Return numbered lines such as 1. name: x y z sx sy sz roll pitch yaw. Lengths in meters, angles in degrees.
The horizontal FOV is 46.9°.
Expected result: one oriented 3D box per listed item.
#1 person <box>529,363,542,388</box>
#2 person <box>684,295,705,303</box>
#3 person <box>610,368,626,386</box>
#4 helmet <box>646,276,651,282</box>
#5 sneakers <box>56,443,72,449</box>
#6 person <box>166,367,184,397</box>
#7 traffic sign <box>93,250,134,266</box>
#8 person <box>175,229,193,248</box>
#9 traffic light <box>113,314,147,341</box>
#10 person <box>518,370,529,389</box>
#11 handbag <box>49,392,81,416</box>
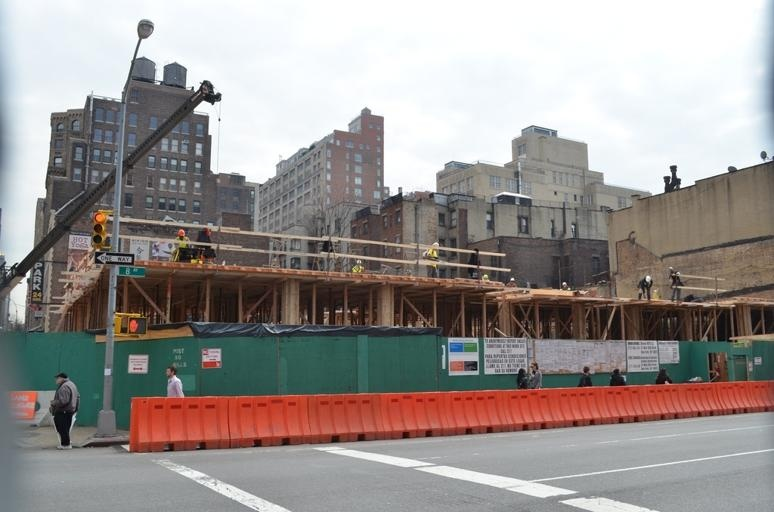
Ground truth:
1. person: 6.532 5.265 39.289 0.538 1.173 2.217 -3 -10 8
2. person: 22.350 3.122 64.658 1.062 0.313 0.778 4 -5 -3
3. person: 10.536 5.556 40.872 0.764 0.758 0.579 1 -10 -11
4. helmet: 17.189 1.527 58.595 0.306 0.292 0.284 -1 -12 30
5. sneakers: -11.781 6.954 32.618 0.491 0.205 0.176 7 -12 -4
6. person: -8.152 4.857 34.266 0.523 1.235 3.828 2 -10 -14
7. traffic sign: -10.592 0.068 34.715 1.434 0.534 0.700 4 -11 -25
8. person: -9.772 -0.834 43.083 0.596 1.045 2.730 1 -10 -13
9. traffic light: -10.352 2.829 35.491 1.037 0.752 1.350 6 -5 -44
10. person: 5.975 5.391 39.200 0.386 0.848 0.801 -4 -11 17
11. handbag: -11.846 5.369 32.452 1.110 0.730 0.852 3 -3 2
